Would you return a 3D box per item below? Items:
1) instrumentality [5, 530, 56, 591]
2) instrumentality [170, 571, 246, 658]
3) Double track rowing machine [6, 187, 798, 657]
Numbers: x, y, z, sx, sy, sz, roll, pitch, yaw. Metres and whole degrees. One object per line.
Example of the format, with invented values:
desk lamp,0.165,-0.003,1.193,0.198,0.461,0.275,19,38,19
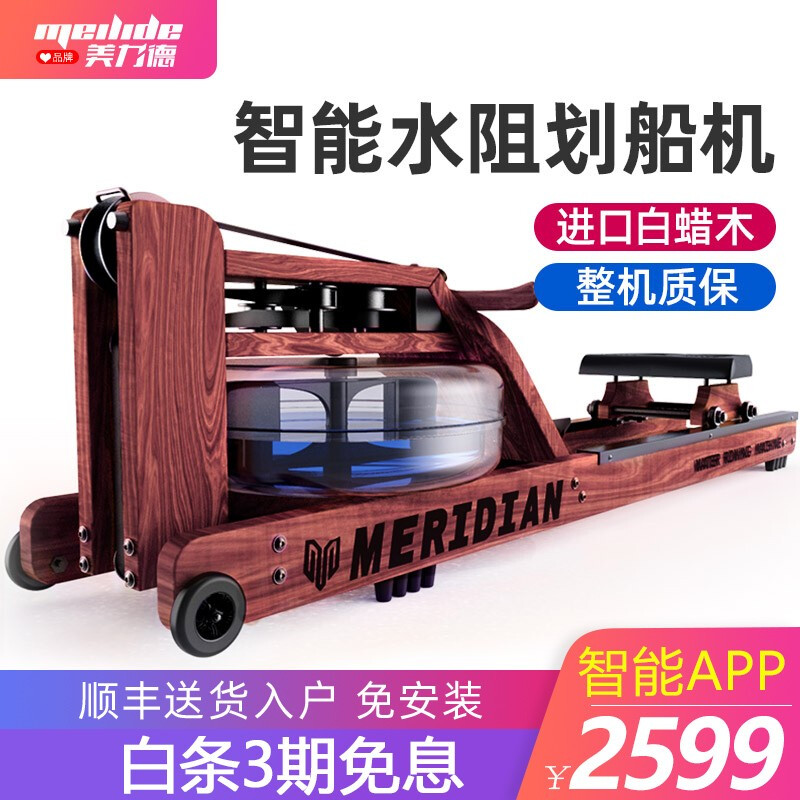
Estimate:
instrumentality,-0.795,0.344,1.655,0.033,0.112,0.126,0,1,10
instrumentality,-0.321,0.374,1.335,0.069,0.170,0.145,3,7,24
Double track rowing machine,0.238,-0.031,2.309,2.572,0.770,0.747,-5,8,-42
